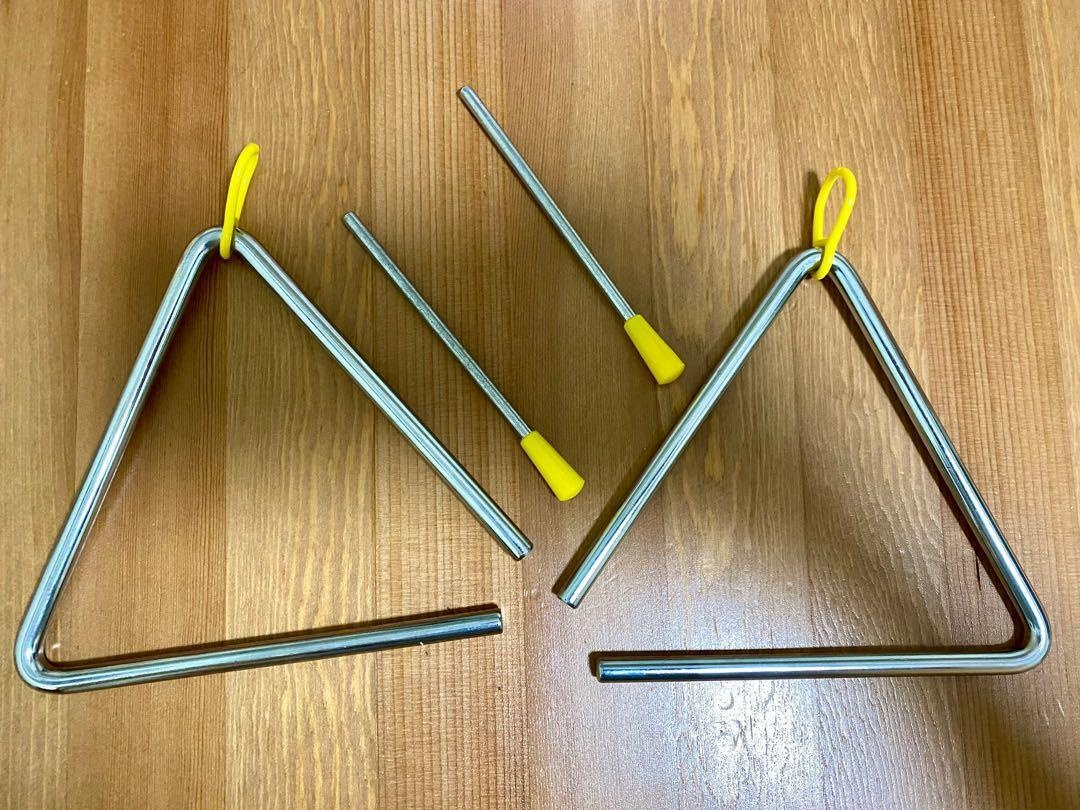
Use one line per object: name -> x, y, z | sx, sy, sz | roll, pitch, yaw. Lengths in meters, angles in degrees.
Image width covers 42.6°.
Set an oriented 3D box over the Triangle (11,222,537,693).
Triangle -> -0.297, 0.040, 1.526 | 0.560, 0.481, 0.062 | -5, -3, -1
